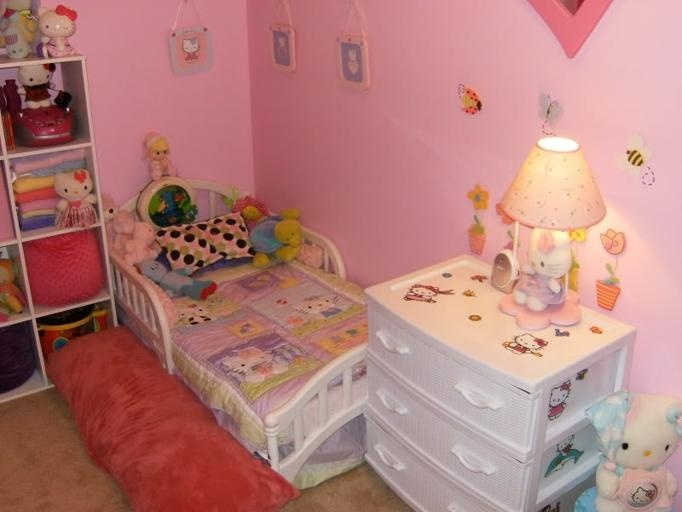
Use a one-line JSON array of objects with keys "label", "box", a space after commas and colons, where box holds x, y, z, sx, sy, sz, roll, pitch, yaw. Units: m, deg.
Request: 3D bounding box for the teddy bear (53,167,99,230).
[{"label": "teddy bear", "box": [-1.453, -0.321, 2.962, 0.210, 0.294, 0.154, -17, 34, -40]}]

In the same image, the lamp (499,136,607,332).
[{"label": "lamp", "box": [0.782, -0.091, 2.055, 0.356, 0.667, 0.349, 10, 24, 21]}]

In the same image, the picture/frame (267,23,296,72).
[{"label": "picture/frame", "box": [-0.362, -1.290, 3.301, 0.048, 0.268, 0.242, -18, 36, -32]}]

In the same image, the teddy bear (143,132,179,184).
[{"label": "teddy bear", "box": [-1.158, -0.628, 3.431, 0.208, 0.372, 0.200, -17, 28, -41]}]

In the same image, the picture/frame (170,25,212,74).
[{"label": "picture/frame", "box": [-0.949, -1.302, 3.418, 0.257, 0.282, 0.078, -10, 20, -29]}]

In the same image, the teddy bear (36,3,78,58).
[{"label": "teddy bear", "box": [-1.411, -1.124, 2.693, 0.183, 0.235, 0.114, -12, 26, -27]}]

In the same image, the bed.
[{"label": "bed", "box": [-0.537, 0.288, 3.056, 1.054, 0.909, 1.755, -24, 44, -28]}]

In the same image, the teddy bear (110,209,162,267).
[{"label": "teddy bear", "box": [-1.236, -0.121, 3.362, 0.289, 0.334, 0.332, 0, 21, 1]}]

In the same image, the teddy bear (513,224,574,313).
[{"label": "teddy bear", "box": [0.776, 0.057, 2.066, 0.157, 0.287, 0.201, -15, 35, -21]}]

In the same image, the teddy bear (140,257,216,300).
[{"label": "teddy bear", "box": [-0.973, 0.151, 3.206, 0.388, 0.125, 0.234, 25, 44, 12]}]

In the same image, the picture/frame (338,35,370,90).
[{"label": "picture/frame", "box": [0.070, -1.046, 2.872, 0.050, 0.262, 0.228, -21, 34, -32]}]

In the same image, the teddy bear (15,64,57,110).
[{"label": "teddy bear", "box": [-1.601, -0.924, 2.827, 0.127, 0.256, 0.181, 38, 42, 25]}]
